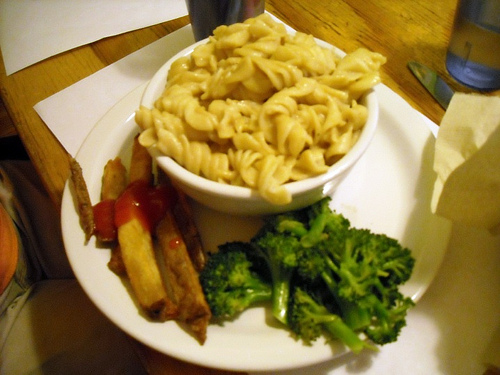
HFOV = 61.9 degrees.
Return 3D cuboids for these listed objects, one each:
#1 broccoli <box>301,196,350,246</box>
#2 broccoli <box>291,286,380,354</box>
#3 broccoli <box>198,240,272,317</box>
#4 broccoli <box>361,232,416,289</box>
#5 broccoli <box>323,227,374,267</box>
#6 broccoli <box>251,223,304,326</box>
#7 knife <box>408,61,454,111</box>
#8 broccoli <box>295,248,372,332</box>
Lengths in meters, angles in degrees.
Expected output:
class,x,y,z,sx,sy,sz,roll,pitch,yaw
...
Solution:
class,x,y,z,sx,sy,sz,roll,pitch,yaw
broccoli,0.340,0.177,1.981,0.193,0.110,0.199,37,67,25
broccoli,0.358,0.587,1.802,0.316,0.163,0.233,13,27,7
broccoli,-0.069,0.429,1.928,0.279,0.125,0.356,-3,66,-18
broccoli,0.656,0.327,1.964,0.219,0.161,0.228,54,18,16
broccoli,0.449,0.246,1.912,0.165,0.170,0.164,0,3,39
broccoli,0.166,0.402,2.030,0.265,0.529,0.315,-5,17,-13
knife,1.118,-0.624,2.517,0.565,0.130,0.025,23,26,-38
broccoli,0.379,0.476,1.976,0.212,0.201,0.433,-36,80,15
